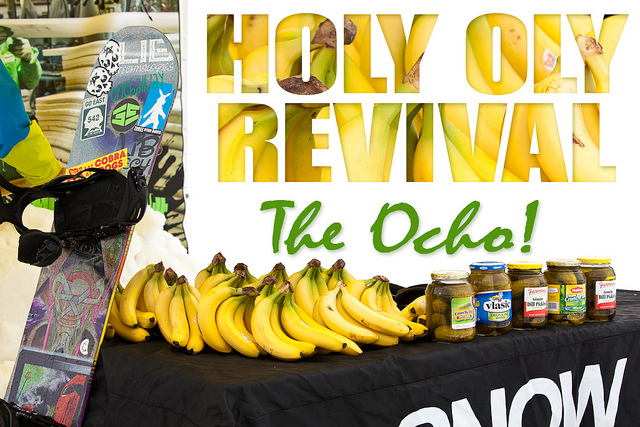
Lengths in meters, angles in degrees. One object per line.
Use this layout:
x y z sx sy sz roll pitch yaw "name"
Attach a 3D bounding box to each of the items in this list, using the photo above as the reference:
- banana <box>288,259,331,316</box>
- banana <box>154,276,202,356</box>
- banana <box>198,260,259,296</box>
-0.054 0.380 2.711 0.152 0.286 0.120 6 -30 -16 "banana"
-0.684 0.512 2.634 0.182 0.422 0.147 -18 -11 7 "banana"
-0.469 0.380 2.741 0.163 0.141 0.271 -35 8 -41 "banana"
